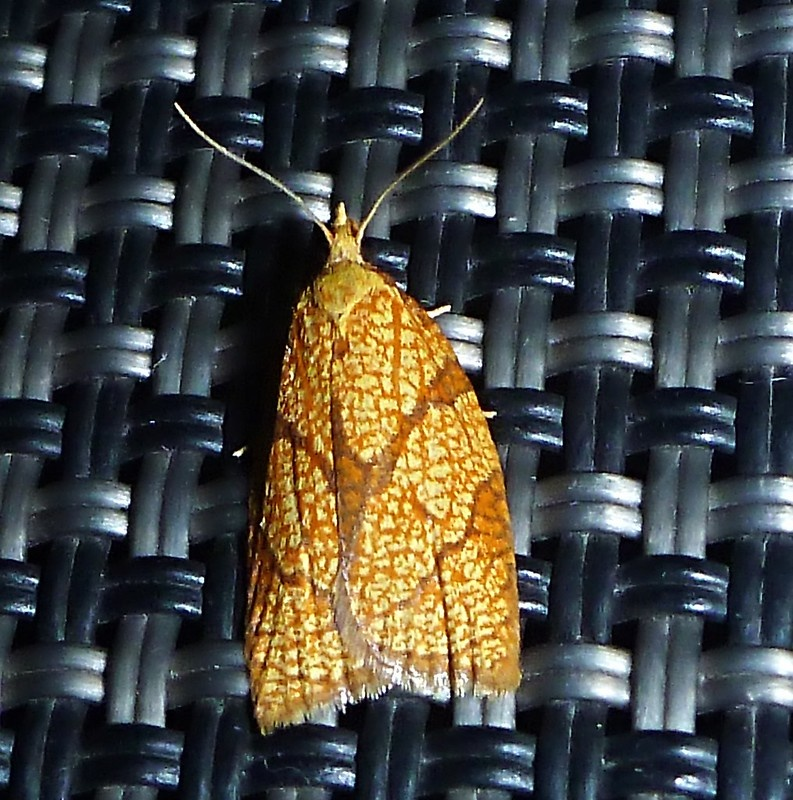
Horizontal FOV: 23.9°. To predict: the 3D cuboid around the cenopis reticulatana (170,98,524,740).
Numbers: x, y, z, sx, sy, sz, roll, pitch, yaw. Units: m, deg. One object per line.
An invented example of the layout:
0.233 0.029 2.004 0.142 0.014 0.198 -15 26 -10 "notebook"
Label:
-0.041 -0.013 2.232 0.398 0.156 0.781 -4 86 2 "cenopis reticulatana"
